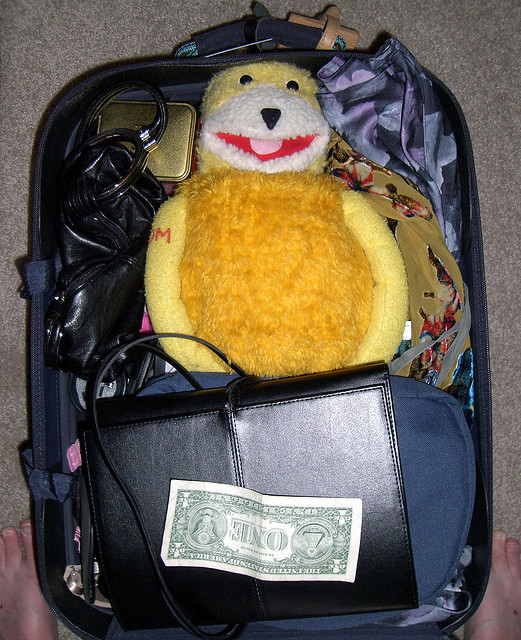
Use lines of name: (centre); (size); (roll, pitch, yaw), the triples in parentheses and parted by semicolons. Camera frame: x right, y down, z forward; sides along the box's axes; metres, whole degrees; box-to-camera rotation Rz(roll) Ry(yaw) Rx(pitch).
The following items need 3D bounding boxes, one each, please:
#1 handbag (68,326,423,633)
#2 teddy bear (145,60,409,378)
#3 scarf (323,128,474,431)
handbag: (-0.046, 0.201, 0.856); (0.457, 0.337, 0.429); (-5, 82, -1)
teddy bear: (0.016, -0.101, 0.904); (0.356, 0.165, 0.393); (-1, 80, 3)
scarf: (0.199, -0.057, 0.929); (0.253, 0.097, 0.389); (-5, 100, -8)
